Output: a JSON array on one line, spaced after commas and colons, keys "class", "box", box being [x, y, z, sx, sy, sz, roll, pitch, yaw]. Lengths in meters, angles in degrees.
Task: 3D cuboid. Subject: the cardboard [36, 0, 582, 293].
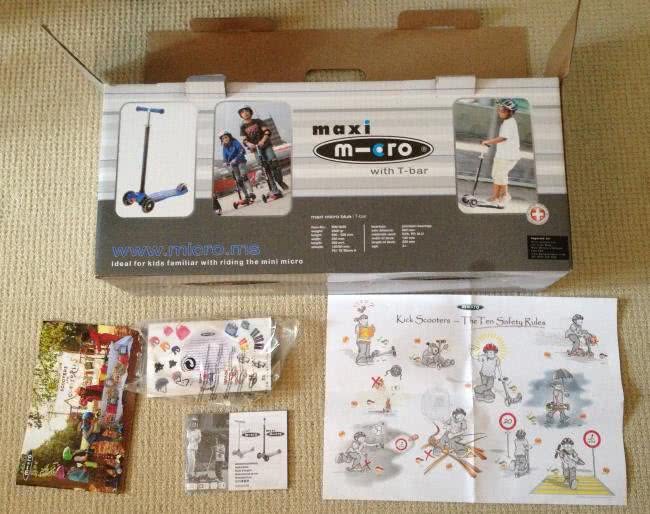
[{"class": "cardboard", "box": [-0.003, -0.201, 1.270, 0.850, 0.215, 0.507, 0, 76, 5]}]
